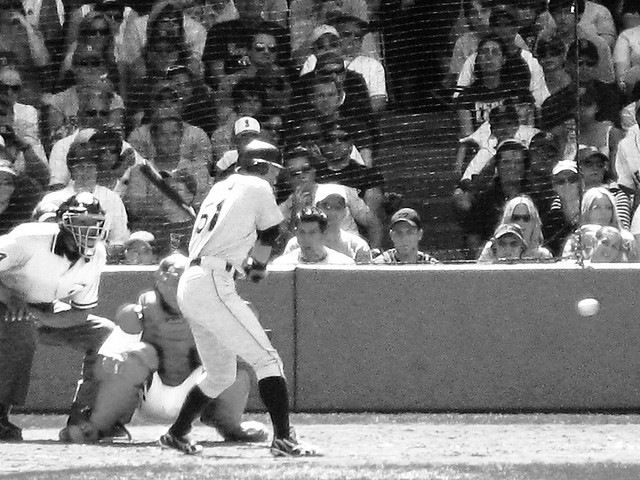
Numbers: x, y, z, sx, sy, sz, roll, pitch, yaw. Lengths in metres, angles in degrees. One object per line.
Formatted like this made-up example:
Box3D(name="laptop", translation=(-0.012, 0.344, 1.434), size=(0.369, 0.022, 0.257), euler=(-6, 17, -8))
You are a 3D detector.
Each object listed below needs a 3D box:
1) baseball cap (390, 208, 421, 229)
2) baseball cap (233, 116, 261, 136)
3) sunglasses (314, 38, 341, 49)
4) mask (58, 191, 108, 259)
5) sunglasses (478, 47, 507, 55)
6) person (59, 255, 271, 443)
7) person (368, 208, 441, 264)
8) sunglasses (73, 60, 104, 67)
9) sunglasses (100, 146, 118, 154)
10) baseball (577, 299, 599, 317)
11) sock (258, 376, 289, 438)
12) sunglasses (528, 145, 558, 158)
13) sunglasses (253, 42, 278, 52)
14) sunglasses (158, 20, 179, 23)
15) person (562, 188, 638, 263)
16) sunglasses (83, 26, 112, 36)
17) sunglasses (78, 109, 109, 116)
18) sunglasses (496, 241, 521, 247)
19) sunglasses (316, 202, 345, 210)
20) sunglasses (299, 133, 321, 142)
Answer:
Box3D(name="baseball cap", translation=(0.692, -0.162, 12.150), size=(0.242, 0.162, 0.235), euler=(3, 6, 2))
Box3D(name="baseball cap", translation=(-0.612, -0.936, 12.574), size=(0.225, 0.152, 0.280), euler=(2, 6, -5))
Box3D(name="sunglasses", translation=(0.063, -1.695, 13.093), size=(0.235, 0.100, 0.071), euler=(-1, 8, -31))
Box3D(name="mask", translation=(-1.750, -0.147, 11.102), size=(0.390, 0.375, 0.463), euler=(-1, -6, -16))
Box3D(name="sunglasses", translation=(1.458, -1.587, 12.761), size=(0.233, 0.053, 0.070), euler=(3, 6, 7))
Box3D(name="person", translation=(-1.076, 0.811, 10.798), size=(1.510, 1.166, 0.788), euler=(4, -3, -17))
Box3D(name="person", translation=(0.693, 0.013, 12.212), size=(0.815, 0.442, 0.410), euler=(0, -20, 8))
Box3D(name="sunglasses", translation=(-2.023, -1.517, 13.034), size=(0.321, 0.040, 0.019), euler=(1, 7, -10))
Box3D(name="sunglasses", translation=(-1.765, -0.741, 12.562), size=(0.139, 0.065, 0.029), euler=(1, 8, -13))
Box3D(name="baseball", translation=(2.052, 0.523, 11.523), size=(0.143, 0.087, 0.139), euler=(-6, -2, 33))
Box3D(name="sock", translation=(-0.318, 1.135, 10.275), size=(0.212, 0.408, 0.139), euler=(2, 8, -6))
Box3D(name="sunglasses", translation=(1.841, -0.719, 12.348), size=(0.316, 0.087, 0.008), euler=(4, -2, -11))
Box3D(name="sunglasses", translation=(-0.472, -1.659, 13.029), size=(0.201, 0.076, 0.062), euler=(2, 7, -4))
Box3D(name="sunglasses", translation=(-1.315, -1.888, 13.099), size=(0.160, 0.028, 0.045), euler=(1, 6, -12))
Box3D(name="person", translation=(2.243, -0.102, 11.972), size=(0.575, 0.538, 0.835), euler=(4, 7, 13))
Box3D(name="sunglasses", translation=(-1.954, -1.803, 13.149), size=(0.243, 0.074, 0.024), euler=(-1, 8, -26))
Box3D(name="sunglasses", translation=(-1.921, -1.073, 12.817), size=(0.263, 0.054, 0.061), euler=(5, 7, 24))
Box3D(name="sunglasses", translation=(1.491, 0.038, 11.912), size=(0.174, 0.050, 0.012), euler=(2, 8, -1))
Box3D(name="sunglasses", translation=(0.084, -0.270, 12.270), size=(0.213, 0.053, 0.060), euler=(2, 7, -4))
Box3D(name="sunglasses", translation=(-0.086, -0.833, 12.464), size=(0.176, 0.066, 0.041), euler=(2, 7, 0))
